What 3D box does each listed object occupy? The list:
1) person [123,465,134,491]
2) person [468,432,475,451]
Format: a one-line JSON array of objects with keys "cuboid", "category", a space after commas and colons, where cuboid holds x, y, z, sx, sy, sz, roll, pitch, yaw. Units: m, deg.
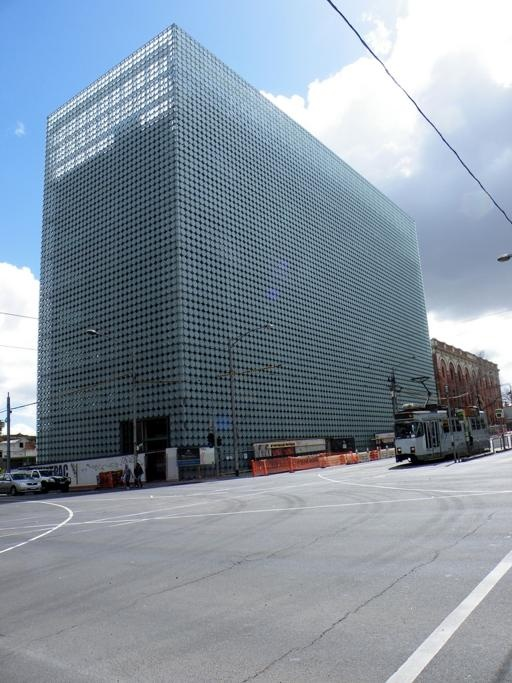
[{"cuboid": [-10.098, 10.628, 38.423, 0.535, 1.634, 2.985, -1, -11, -16], "category": "person"}, {"cuboid": [17.248, 8.076, 39.448, 0.243, 1.119, 1.096, 3, 12, 15], "category": "person"}]
